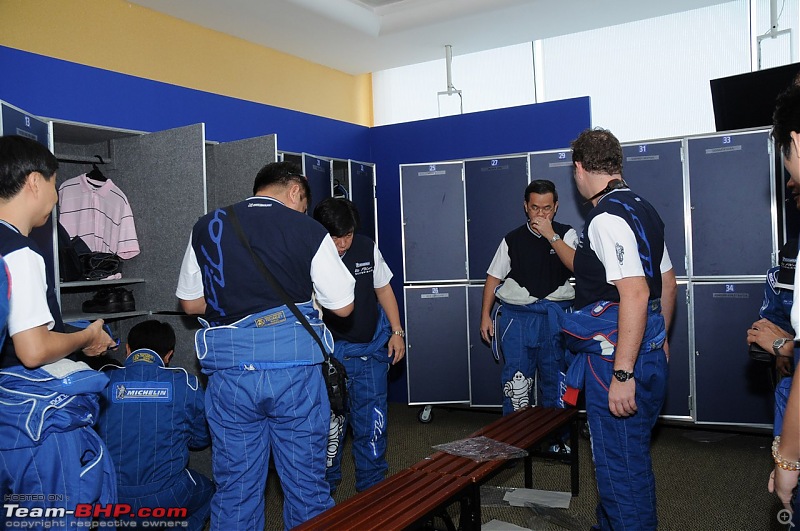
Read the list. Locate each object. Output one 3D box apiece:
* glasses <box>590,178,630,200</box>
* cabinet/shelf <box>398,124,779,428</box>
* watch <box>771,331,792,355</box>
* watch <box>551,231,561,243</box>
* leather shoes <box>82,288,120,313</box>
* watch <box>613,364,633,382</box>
[{"bbox_3d":[1.178,-0.413,3.257,0.136,0.041,0.137,-36,-12,21],"label":"glasses"},{"bbox_3d":[1.548,0.093,4.599,2.874,2.182,0.925,-1,3,22],"label":"cabinet/shelf"},{"bbox_3d":[2.116,0.422,3.202,0.108,0.113,0.071,26,-5,-31],"label":"watch"},{"bbox_3d":[1.234,-0.229,4.571,0.080,0.055,0.087,-37,-6,31],"label":"watch"},{"bbox_3d":[-2.402,0.271,4.653,0.386,0.165,0.148,3,3,39],"label":"leather shoes"},{"bbox_3d":[1.176,0.558,3.040,0.073,0.046,0.077,3,2,23],"label":"watch"}]
